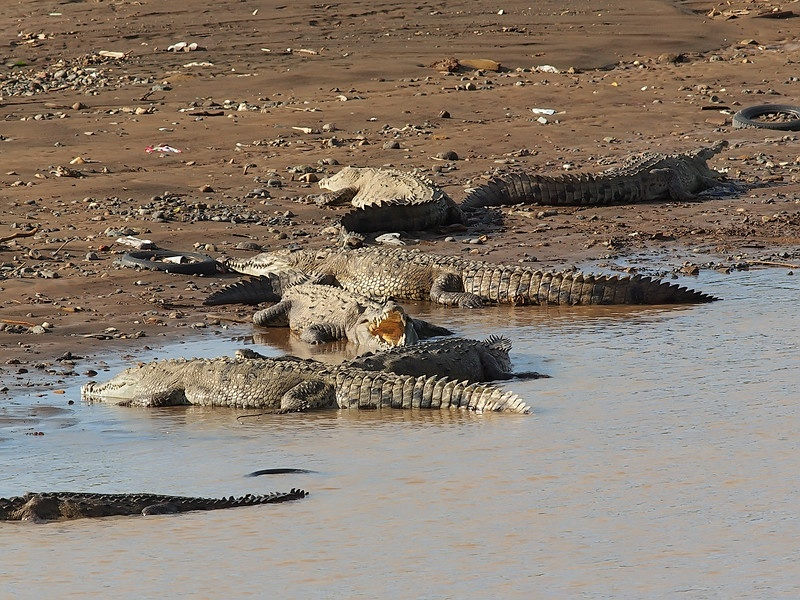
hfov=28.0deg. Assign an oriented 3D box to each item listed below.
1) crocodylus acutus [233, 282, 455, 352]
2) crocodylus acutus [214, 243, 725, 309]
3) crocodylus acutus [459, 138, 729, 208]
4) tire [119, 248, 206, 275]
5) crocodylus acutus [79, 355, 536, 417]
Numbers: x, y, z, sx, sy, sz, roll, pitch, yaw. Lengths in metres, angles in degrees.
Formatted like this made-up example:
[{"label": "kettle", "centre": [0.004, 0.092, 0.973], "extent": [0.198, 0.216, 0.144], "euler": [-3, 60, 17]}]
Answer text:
[{"label": "crocodylus acutus", "centre": [-0.517, 0.101, 18.692], "extent": [1.755, 0.330, 2.230], "euler": [-17, 20, -28]}, {"label": "crocodylus acutus", "centre": [0.837, -0.247, 19.680], "extent": [5.717, 0.359, 1.607], "euler": [1, 4, 14]}, {"label": "crocodylus acutus", "centre": [2.936, -1.866, 24.102], "extent": [3.376, 0.312, 1.300], "euler": [-5, 13, -11]}, {"label": "tire", "centre": [-2.904, -0.486, 20.594], "extent": [1.202, 0.241, 0.655], "euler": [-2, 1, -12]}, {"label": "crocodylus acutus", "centre": [-0.935, 0.907, 16.350], "extent": [4.408, 0.280, 1.027], "euler": [1, 16, 11]}]
